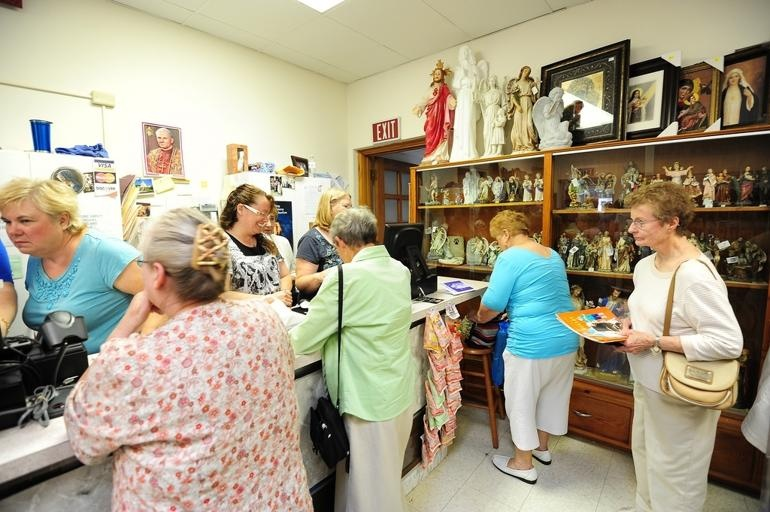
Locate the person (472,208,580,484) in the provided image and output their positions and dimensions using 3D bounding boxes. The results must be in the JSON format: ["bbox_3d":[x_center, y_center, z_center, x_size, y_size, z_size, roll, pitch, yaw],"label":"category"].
[{"bbox_3d":[1.046,0.651,3.662,0.726,1.937,0.445,1,8,10],"label":"person"}]

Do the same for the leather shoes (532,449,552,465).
[{"bbox_3d":[1.195,1.521,3.818,0.064,0.072,0.173,-6,9,-37],"label":"leather shoes"}]

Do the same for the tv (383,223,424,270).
[{"bbox_3d":[0.122,-0.060,3.479,0.261,0.266,0.098,-14,24,-37],"label":"tv"}]

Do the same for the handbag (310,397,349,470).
[{"bbox_3d":[-0.342,1.018,2.919,0.128,0.378,0.284,-13,-1,-14],"label":"handbag"}]

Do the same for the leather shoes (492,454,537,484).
[{"bbox_3d":[0.939,1.567,3.658,0.327,0.103,0.129,16,13,37],"label":"leather shoes"}]

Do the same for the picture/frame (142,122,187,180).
[{"bbox_3d":[-2.010,-0.937,4.441,0.032,0.659,0.469,-2,6,41],"label":"picture/frame"}]

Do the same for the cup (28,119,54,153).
[{"bbox_3d":[-2.619,-0.903,3.757,0.122,0.249,0.227,-6,10,-35],"label":"cup"}]

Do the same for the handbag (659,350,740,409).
[{"bbox_3d":[1.868,0.723,2.935,0.317,0.324,0.174,9,-3,33],"label":"handbag"}]

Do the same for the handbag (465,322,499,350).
[{"bbox_3d":[0.772,0.617,3.960,0.183,0.255,0.221,2,4,-39],"label":"handbag"}]
